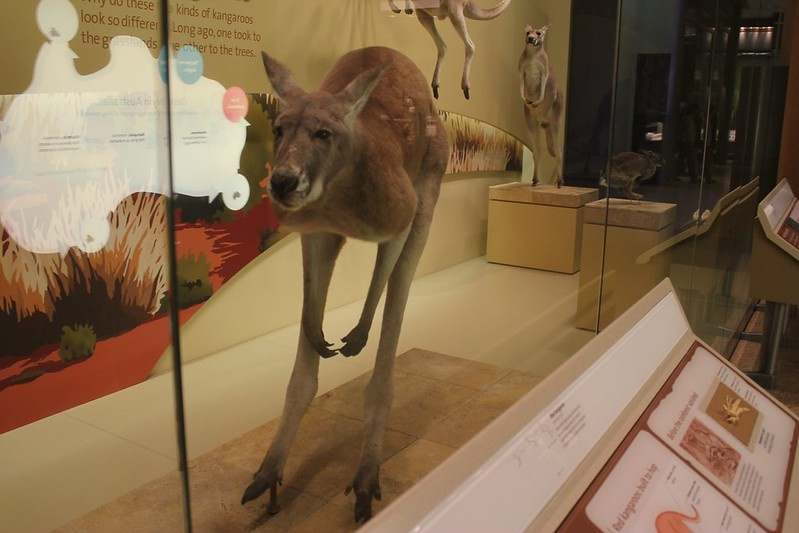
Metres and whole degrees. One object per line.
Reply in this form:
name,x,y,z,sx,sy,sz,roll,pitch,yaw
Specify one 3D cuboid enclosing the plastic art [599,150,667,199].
plastic art,1.404,-0.556,3.420,0.348,0.343,0.197,-1,3,5
